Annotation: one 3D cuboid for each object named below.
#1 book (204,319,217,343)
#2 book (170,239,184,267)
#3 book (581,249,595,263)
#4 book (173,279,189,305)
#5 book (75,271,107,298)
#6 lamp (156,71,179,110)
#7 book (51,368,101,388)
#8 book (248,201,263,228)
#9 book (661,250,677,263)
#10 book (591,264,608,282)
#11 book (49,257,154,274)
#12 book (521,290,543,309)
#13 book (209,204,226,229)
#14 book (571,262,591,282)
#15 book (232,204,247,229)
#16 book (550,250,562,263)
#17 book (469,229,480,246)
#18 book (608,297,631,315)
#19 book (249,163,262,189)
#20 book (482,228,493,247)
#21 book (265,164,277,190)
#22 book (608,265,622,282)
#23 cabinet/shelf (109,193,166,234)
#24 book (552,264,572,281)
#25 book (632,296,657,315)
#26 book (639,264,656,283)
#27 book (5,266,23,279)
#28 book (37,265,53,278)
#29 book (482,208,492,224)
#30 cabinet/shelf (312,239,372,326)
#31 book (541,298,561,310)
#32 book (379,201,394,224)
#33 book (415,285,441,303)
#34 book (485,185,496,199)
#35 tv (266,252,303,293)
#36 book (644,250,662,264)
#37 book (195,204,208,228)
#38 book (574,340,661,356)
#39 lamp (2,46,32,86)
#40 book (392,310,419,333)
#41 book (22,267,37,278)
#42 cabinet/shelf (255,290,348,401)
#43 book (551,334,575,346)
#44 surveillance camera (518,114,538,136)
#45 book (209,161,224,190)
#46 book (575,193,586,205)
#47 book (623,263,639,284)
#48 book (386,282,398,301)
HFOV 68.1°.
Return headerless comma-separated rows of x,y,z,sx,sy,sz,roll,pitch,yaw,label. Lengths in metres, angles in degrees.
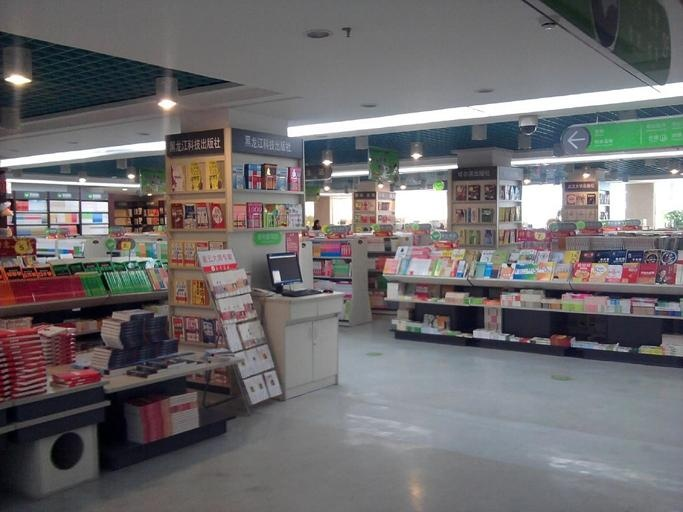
-1.778,0.997,6.791,0.272,0.286,0.066,6,2,35,book
-2.343,-0.030,7.171,0.344,0.485,0.053,-2,-3,36,book
3.905,-0.014,8.086,0.172,0.165,0.041,4,-10,41,book
-2.247,0.501,7.097,0.276,0.408,0.299,0,0,0,book
-2.999,0.330,6.081,0.273,0.286,0.097,-7,-13,-45,book
-2.288,-2.112,6.610,0.249,0.424,0.910,-2,6,-19,lamp
-2.333,1.064,4.446,0.195,0.068,0.193,2,2,34,book
-1.216,-0.575,7.152,0.109,0.365,0.314,2,6,32,book
4.889,0.008,7.581,0.023,0.180,0.158,33,-13,-39,book
4.009,0.247,7.901,0.240,0.287,0.162,2,6,25,book
-3.086,0.125,6.418,0.370,0.168,1.211,4,8,43,book
3.137,0.683,8.362,0.302,0.301,0.298,1,5,20,book
-1.702,-0.556,6.926,0.312,0.422,0.045,3,8,34,book
3.805,0.250,8.041,0.041,0.397,0.285,25,-12,-37,book
-1.425,-0.554,6.956,0.179,0.344,0.338,-1,-1,27,book
3.540,0.008,8.379,0.158,0.159,0.085,8,3,32,book
3.246,-0.463,12.410,0.348,0.349,0.087,2,-4,30,book
4.212,0.756,7.689,0.303,0.222,0.089,1,5,23,book
-1.226,-1.114,7.114,0.053,0.342,0.246,2,6,32,book
3.550,-0.443,12.266,0.231,0.391,0.092,0,5,10,book
-1.030,-1.145,7.303,0.068,0.359,0.291,2,6,26,book
4.203,0.274,7.788,0.223,0.320,0.037,-8,-32,41,book
-9.195,-1.976,22.752,2.732,1.694,1.024,2,6,31,cabinet/shelf
3.571,0.250,8.199,0.266,0.267,0.067,1,-12,36,book
4.493,0.699,7.549,0.314,0.287,0.228,-1,-1,38,book
4.583,0.253,7.592,0.239,0.287,0.175,2,6,31,book
-3.608,0.179,5.556,0.171,0.136,0.086,-5,7,-38,book
-3.403,0.161,5.836,0.102,0.183,0.201,5,4,37,book
3.496,-0.982,12.204,0.329,0.321,0.079,12,8,32,book
0.003,0.509,10.066,1.713,1.754,0.749,-3,-4,38,cabinet/shelf
3.399,0.768,8.214,0.166,0.113,0.226,-3,4,-45,book
1.723,-1.741,20.057,0.355,0.967,1.104,1,3,30,book
1.592,0.656,9.404,0.473,0.345,0.260,3,9,22,book
3.557,-1.544,12.141,0.320,0.450,0.044,-2,-5,43,book
-0.836,0.220,7.128,0.515,0.551,0.303,-5,-1,-43,tv
4.717,0.012,7.684,0.144,0.174,0.022,19,-9,40,book
-1.946,-0.566,7.037,0.244,0.342,0.045,3,6,36,book
4.212,1.388,7.785,1.236,0.178,0.195,3,6,32,book
-3.431,-2.034,5.351,0.235,0.332,0.257,-4,6,-36,lamp
1.218,1.196,9.546,0.405,0.149,0.398,2,3,45,book
-3.506,0.188,5.676,0.098,0.107,0.111,6,7,35,book
-0.583,1.152,6.946,0.729,1.345,1.105,-2,1,39,cabinet/shelf
3.527,1.368,8.158,0.321,0.146,0.107,2,6,29,book
2.823,-1.998,7.659,0.233,0.218,0.378,2,6,26,surveillance camera
-1.735,-1.101,6.936,0.272,0.401,0.068,3,6,35,book
8.678,-2.060,18.562,0.484,0.505,0.347,3,4,26,book
4.390,0.248,7.695,0.229,0.274,0.156,2,6,30,book
0.964,0.656,9.762,0.258,0.363,0.362,1,0,20,book
